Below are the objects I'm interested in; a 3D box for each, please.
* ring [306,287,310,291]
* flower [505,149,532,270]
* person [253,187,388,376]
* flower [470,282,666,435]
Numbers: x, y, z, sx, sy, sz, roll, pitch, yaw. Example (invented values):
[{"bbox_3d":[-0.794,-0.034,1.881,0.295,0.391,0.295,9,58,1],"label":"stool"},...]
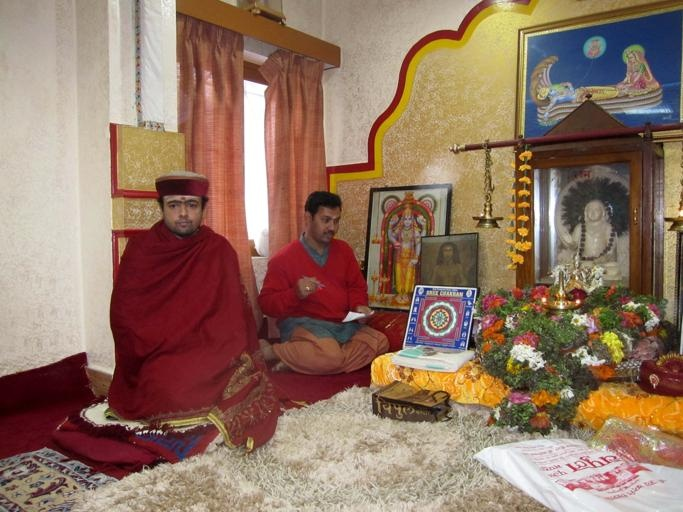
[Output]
[{"bbox_3d":[-0.240,0.231,3.792,0.026,0.028,0.008,-1,0,-6],"label":"ring"},{"bbox_3d":[1.275,-0.352,3.844,0.172,0.872,0.247,-1,6,-9],"label":"flower"},{"bbox_3d":[-0.142,0.180,4.107,0.943,1.349,0.622,-2,6,-26],"label":"person"},{"bbox_3d":[1.272,0.527,3.083,0.871,0.585,0.890,-11,8,-18],"label":"flower"}]
